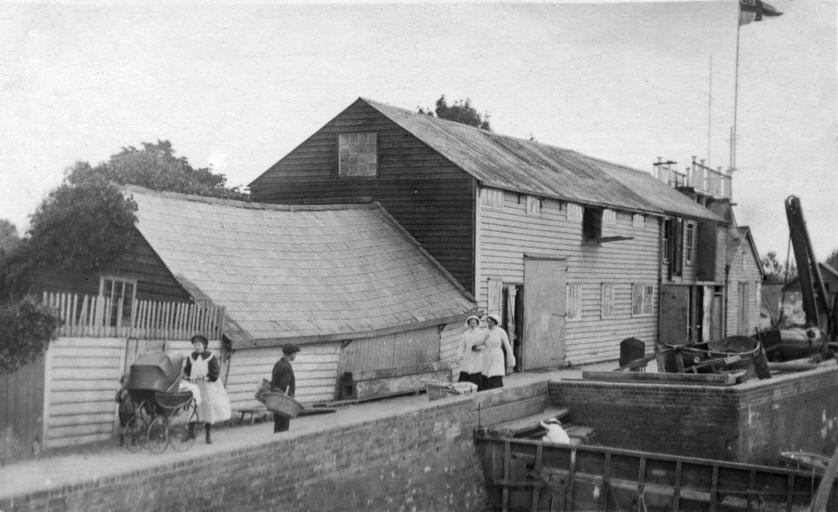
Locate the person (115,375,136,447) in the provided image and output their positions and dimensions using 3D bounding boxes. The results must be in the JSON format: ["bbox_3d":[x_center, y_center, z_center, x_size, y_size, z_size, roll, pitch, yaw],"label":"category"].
[{"bbox_3d":[-6.989,3.606,26.174,0.404,1.669,0.397,4,-11,-32],"label":"person"}]

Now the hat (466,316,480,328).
[{"bbox_3d":[1.626,1.908,32.436,0.343,0.274,0.362,0,-9,0],"label":"hat"}]

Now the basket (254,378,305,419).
[{"bbox_3d":[-3.643,3.608,28.197,1.078,0.445,0.828,8,-33,38],"label":"basket"}]
